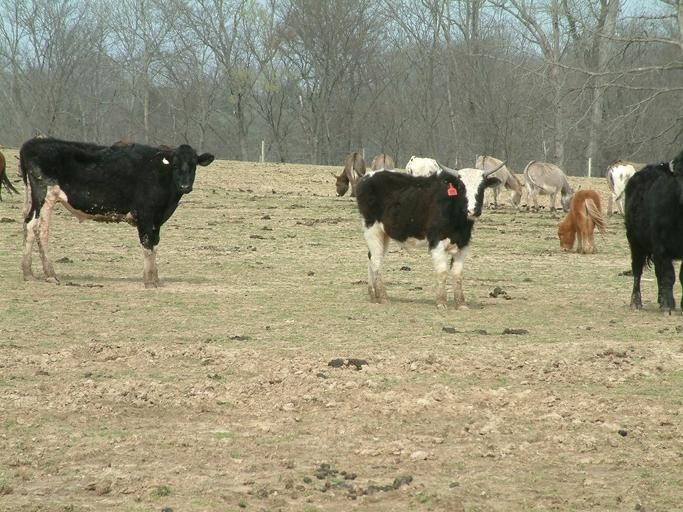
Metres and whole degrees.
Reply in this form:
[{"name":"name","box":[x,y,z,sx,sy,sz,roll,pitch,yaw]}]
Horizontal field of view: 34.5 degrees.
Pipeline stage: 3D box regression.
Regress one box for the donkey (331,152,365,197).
[{"name":"donkey","box":[0.106,-2.936,40.218,0.855,1.578,3.088,11,-4,-11]}]

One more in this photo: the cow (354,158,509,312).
[{"name":"cow","box":[1.350,-0.376,19.757,2.276,2.447,0.717,3,6,22]}]

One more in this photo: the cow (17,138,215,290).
[{"name":"cow","box":[-4.590,-0.891,20.929,2.894,2.700,1.400,0,5,-10]}]

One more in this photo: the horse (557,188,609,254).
[{"name":"horse","box":[5.708,-0.860,26.447,0.758,1.492,1.112,-1,6,-23]}]
